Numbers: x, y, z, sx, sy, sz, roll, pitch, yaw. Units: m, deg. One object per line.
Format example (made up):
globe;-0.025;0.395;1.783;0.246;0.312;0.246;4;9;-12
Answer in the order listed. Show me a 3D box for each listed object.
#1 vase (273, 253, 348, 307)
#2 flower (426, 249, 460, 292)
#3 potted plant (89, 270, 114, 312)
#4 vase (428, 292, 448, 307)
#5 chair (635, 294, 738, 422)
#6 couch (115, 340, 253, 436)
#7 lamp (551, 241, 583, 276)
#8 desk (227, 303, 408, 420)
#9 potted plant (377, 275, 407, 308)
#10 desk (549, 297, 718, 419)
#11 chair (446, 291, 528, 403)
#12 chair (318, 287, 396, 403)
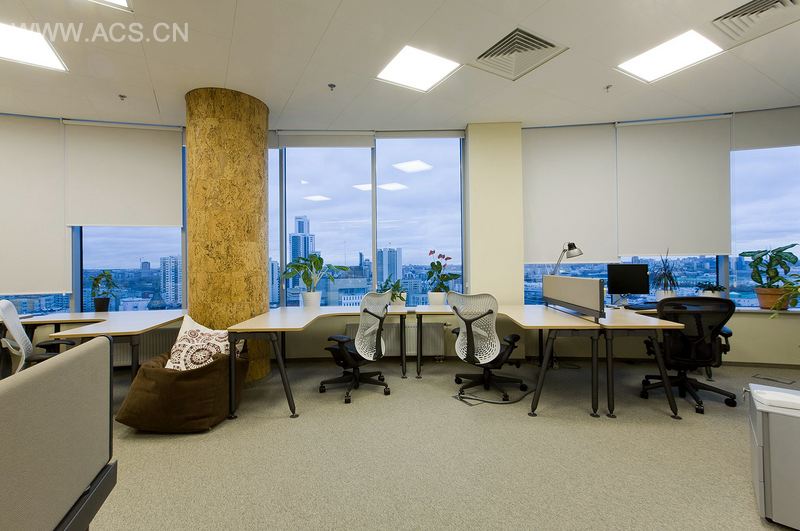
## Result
vase;-1.247;0.194;8.114;0.964;0.713;0.976;-5;7;-35
flower;0.656;0.076;8.366;0.536;0.672;0.587;1;4;6
potted plant;-4.283;0.350;7.759;0.366;0.581;0.300;0;5;27
vase;0.567;0.500;8.123;0.224;0.165;0.221;3;-5;-39
chair;3.557;1.007;6.706;1.103;1.295;1.004;3;3;11
couch;-2.492;1.336;5.974;0.913;0.444;0.925;-1;-1;27
lamp;2.459;-0.116;8.041;0.468;0.475;0.474;-1;4;17
desk;-0.976;1.117;7.197;2.059;1.057;2.081;-2;4;-2
potted plant;-0.097;0.352;8.017;0.385;0.497;0.426;2;-7;-14
desk;2.678;0.756;7.226;1.017;0.909;1.883;6;24;-5
chair;1.129;0.990;6.944;0.980;1.314;0.900;1;5;6
chair;-0.523;0.993;7.046;0.883;1.294;0.991;1;1;23
